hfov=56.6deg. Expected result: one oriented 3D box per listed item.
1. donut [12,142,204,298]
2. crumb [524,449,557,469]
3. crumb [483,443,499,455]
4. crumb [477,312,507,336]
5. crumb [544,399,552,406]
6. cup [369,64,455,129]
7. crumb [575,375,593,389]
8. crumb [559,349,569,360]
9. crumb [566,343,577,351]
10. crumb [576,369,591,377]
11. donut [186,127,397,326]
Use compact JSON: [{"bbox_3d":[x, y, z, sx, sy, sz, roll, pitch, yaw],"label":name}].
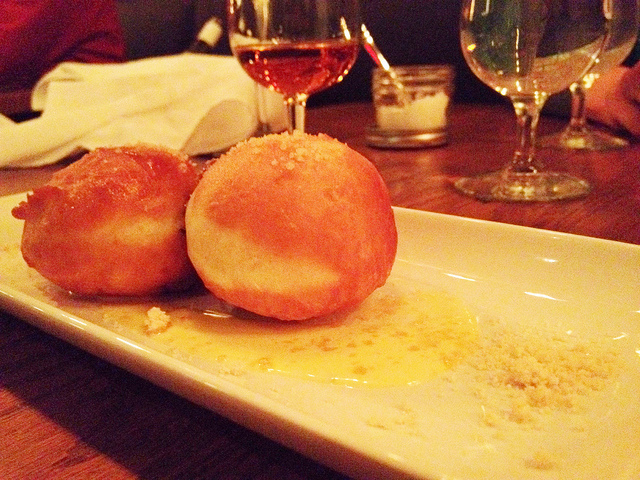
[{"bbox_3d":[-0.225,-0.024,0.651,0.155,0.156,0.208,25,30,37],"label":"donut"},{"bbox_3d":[0.149,0.150,0.404,0.011,0.003,0.011,-10,24,-19],"label":"crumb"},{"bbox_3d":[0.117,0.144,0.410,0.010,0.002,0.009,-3,29,0],"label":"crumb"},{"bbox_3d":[0.162,0.077,0.554,0.019,0.004,0.018,-12,25,-22],"label":"crumb"},{"bbox_3d":[0.173,0.123,0.452,0.007,0.001,0.004,-3,29,1],"label":"crumb"},{"bbox_3d":[0.197,-0.297,1.277,0.175,0.123,0.151,1,17,13],"label":"cup"},{"bbox_3d":[0.211,0.112,0.472,0.008,0.003,0.010,3,20,2],"label":"crumb"},{"bbox_3d":[0.208,0.097,0.507,0.007,0.004,0.007,-8,22,-3],"label":"crumb"},{"bbox_3d":[0.219,0.093,0.518,0.006,0.003,0.006,-5,19,-9],"label":"crumb"},{"bbox_3d":[0.213,0.107,0.481,0.006,0.002,0.006,-2,7,-6],"label":"crumb"},{"bbox_3d":[-0.027,-0.031,0.625,0.226,0.162,0.209,-10,20,-11],"label":"donut"}]
